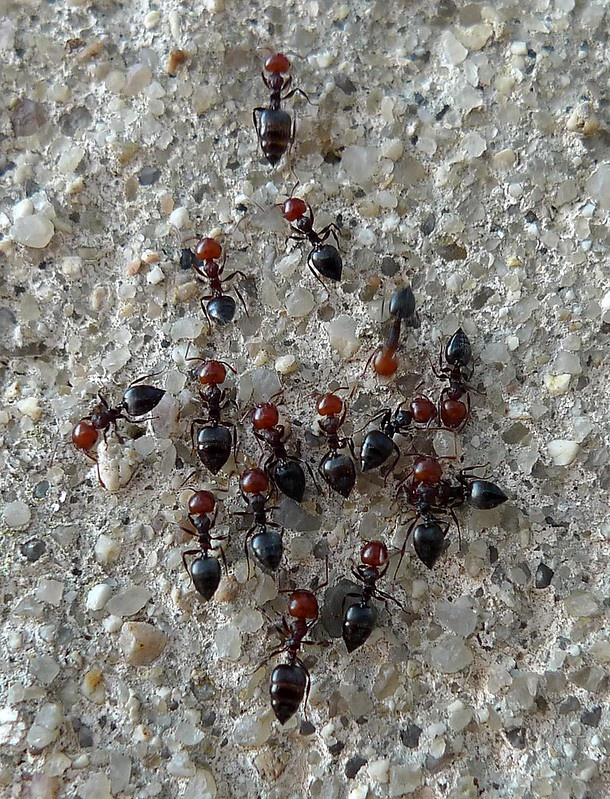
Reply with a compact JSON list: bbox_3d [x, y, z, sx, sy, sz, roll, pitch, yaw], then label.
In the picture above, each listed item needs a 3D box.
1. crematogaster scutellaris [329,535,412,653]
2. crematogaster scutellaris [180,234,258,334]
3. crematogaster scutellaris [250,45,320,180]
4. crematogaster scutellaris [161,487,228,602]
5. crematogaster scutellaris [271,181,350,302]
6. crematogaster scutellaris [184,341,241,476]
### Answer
[{"bbox_3d":[0.215,0.622,2.807,0.239,0.095,0.315,-3,63,36],"label":"crematogaster scutellaris"},{"bbox_3d":[-0.317,-0.387,3.012,0.206,0.115,0.295,-15,91,-1],"label":"crematogaster scutellaris"},{"bbox_3d":[-0.096,-0.979,3.013,0.245,0.111,0.333,2,80,1],"label":"crematogaster scutellaris"},{"bbox_3d":[-0.343,0.461,2.795,0.180,0.109,0.321,-2,70,3],"label":"crematogaster scutellaris"},{"bbox_3d":[0.029,-0.541,2.940,0.188,0.089,0.318,-28,76,1],"label":"crematogaster scutellaris"},{"bbox_3d":[-0.302,0.037,2.913,0.179,0.129,0.385,-6,70,12],"label":"crematogaster scutellaris"}]
